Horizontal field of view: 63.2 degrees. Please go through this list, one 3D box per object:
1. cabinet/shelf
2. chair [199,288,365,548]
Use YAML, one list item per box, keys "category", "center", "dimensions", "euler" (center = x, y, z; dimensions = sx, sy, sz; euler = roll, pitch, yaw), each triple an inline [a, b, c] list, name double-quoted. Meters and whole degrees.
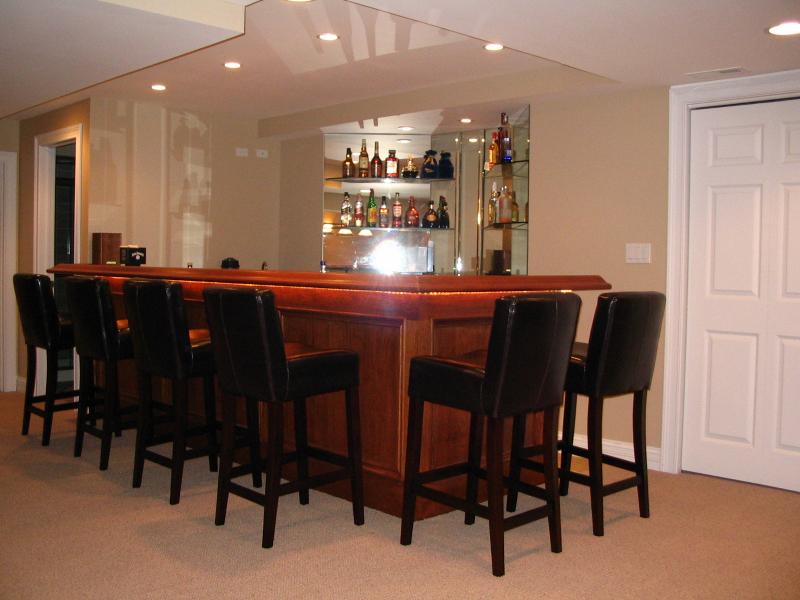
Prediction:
- category: "cabinet/shelf"
  center: [0.291, -0.969, 6.087]
  dimensions: [1.453, 1.396, 0.476]
  euler: [2, 5, 13]
- category: "chair"
  center: [-0.627, 0.571, 3.574]
  dimensions: [0.867, 1.327, 0.769]
  euler: [1, 9, -1]
